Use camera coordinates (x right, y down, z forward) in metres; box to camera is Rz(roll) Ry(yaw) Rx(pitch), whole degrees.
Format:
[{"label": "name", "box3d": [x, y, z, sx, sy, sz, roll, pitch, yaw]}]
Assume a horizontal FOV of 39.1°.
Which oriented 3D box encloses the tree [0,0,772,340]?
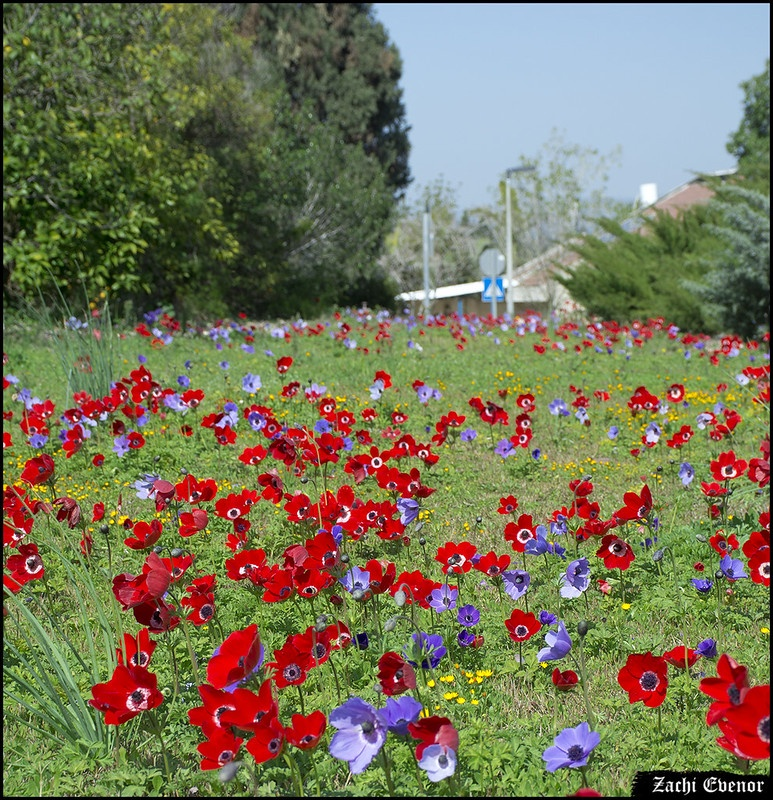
[{"label": "tree", "box3d": [-0.984, -2.983, 15.498, 5.290, 4.001, 5.774, 5, 14, 17]}]
